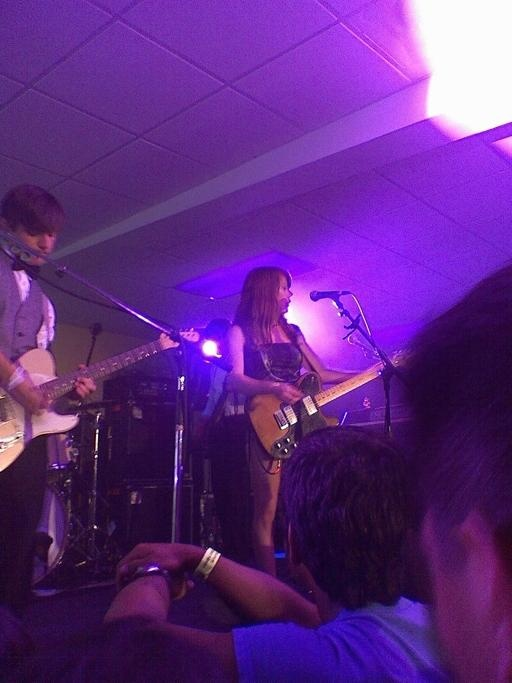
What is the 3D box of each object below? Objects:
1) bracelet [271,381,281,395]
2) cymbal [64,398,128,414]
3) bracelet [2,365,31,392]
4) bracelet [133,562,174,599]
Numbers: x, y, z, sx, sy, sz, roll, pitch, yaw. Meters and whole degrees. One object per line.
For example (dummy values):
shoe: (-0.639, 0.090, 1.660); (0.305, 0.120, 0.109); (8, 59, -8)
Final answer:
bracelet: (0.086, 0.199, 2.419); (0.034, 0.053, 0.105); (-1, -4, 1)
cymbal: (-1.210, 0.488, 4.309); (0.460, 0.117, 0.431); (-1, -12, 8)
bracelet: (-0.834, 0.133, 1.982); (0.031, 0.062, 0.084); (36, -59, -9)
bracelet: (-0.130, 0.292, 0.719); (0.055, 0.036, 0.051); (2, 11, -7)
